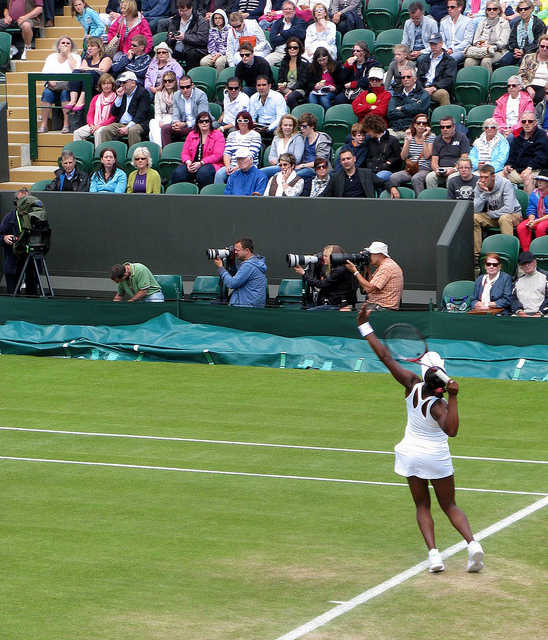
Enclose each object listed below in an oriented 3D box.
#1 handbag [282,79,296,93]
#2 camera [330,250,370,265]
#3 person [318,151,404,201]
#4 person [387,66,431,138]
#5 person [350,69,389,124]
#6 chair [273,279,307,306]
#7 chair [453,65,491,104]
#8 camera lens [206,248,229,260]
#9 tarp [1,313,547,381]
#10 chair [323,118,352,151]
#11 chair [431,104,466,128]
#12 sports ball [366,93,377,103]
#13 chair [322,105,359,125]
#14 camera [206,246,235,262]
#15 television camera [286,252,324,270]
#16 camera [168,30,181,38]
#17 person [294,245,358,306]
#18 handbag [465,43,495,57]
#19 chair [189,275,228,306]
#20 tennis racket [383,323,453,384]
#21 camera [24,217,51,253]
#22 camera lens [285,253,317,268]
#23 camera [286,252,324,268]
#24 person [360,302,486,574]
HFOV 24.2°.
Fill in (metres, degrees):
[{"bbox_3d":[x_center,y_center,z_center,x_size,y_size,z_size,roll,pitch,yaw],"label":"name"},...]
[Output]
[{"bbox_3d":[0.268,-3.993,21.833,0.178,0.198,0.217,-12,-30,26],"label":"handbag"},{"bbox_3d":[0.958,-0.802,16.427,0.367,0.111,0.210,2,-4,-15],"label":"camera"},{"bbox_3d":[1.336,-2.152,19.182,0.735,0.888,0.315,-17,9,0],"label":"person"},{"bbox_3d":[2.137,-3.472,20.410,0.690,1.062,0.769,2,13,14],"label":"person"},{"bbox_3d":[1.584,-3.659,20.636,0.409,0.761,0.573,-10,15,-30],"label":"person"},{"bbox_3d":[0.253,-0.421,18.260,0.475,0.394,0.388,1,-1,10],"label":"chair"},{"bbox_3d":[3.308,-3.924,21.390,0.764,0.735,0.633,5,13,19],"label":"chair"},{"bbox_3d":[-0.766,-0.908,17.431,0.265,0.166,0.457,3,13,21],"label":"camera lens"},{"bbox_3d":[-0.298,0.297,16.912,7.302,0.570,0.702,3,13,18],"label":"tarp"},{"bbox_3d":[1.076,-3.069,21.233,0.569,0.503,0.669,3,3,5],"label":"chair"},{"bbox_3d":[2.847,-3.194,20.462,0.616,0.494,0.484,1,4,14],"label":"chair"},{"bbox_3d":[1.575,-3.569,20.586,0.148,0.130,0.161,16,-26,8],"label":"sports ball"},{"bbox_3d":[1.124,-3.496,21.282,0.572,0.572,0.533,1,4,7],"label":"chair"},{"bbox_3d":[-0.710,-0.917,17.391,0.266,0.098,0.225,1,-3,-21],"label":"camera"},{"bbox_3d":[0.376,-0.807,17.044,0.185,0.234,0.700,1,2,42],"label":"television camera"},{"bbox_3d":[-1.768,-5.272,23.522,0.131,0.046,0.127,-31,51,-29],"label":"camera"},{"bbox_3d":[0.709,-0.540,17.559,0.853,0.991,0.531,5,16,7],"label":"person"},{"bbox_3d":[3.463,-4.534,21.457,0.322,0.108,0.304,5,21,22],"label":"handbag"},{"bbox_3d":[-0.946,-0.444,18.606,0.531,0.558,0.530,2,2,4],"label":"chair"},{"bbox_3d":[1.398,0.324,12.474,0.308,0.103,0.981,-20,42,-19],"label":"tennis racket"},{"bbox_3d":[-3.543,-1.297,19.365,0.389,0.582,0.344,-5,14,-14],"label":"camera"},{"bbox_3d":[0.335,-0.804,16.871,0.404,0.151,0.171,0,1,-42],"label":"camera lens"},{"bbox_3d":[0.371,-0.810,16.988,0.554,0.197,0.199,-1,0,-44],"label":"camera"},{"bbox_3d":[1.144,0.908,9.775,0.942,1.934,1.129,-1,13,4],"label":"person"}]
